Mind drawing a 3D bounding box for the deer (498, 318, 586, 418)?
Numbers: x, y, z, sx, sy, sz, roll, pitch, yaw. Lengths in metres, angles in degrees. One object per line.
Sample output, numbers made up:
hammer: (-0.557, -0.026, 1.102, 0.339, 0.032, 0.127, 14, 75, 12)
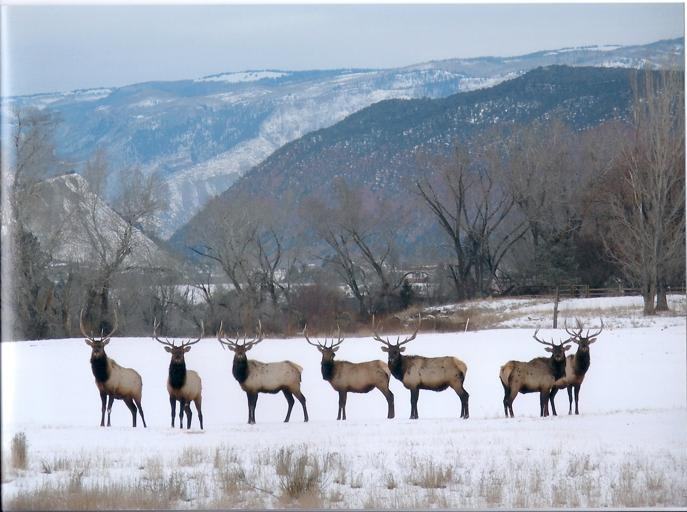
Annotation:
deer: (5.453, 3.432, 37.718, 1.910, 2.246, 0.974, -3, -5, 9)

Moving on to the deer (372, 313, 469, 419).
deer: (2.433, 3.428, 37.705, 2.282, 2.455, 1.066, -3, -5, 6)

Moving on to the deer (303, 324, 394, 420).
deer: (0.237, 3.426, 38.173, 2.340, 2.682, 1.188, 0, 0, 5)

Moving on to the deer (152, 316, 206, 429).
deer: (-4.528, 3.552, 37.808, 1.207, 2.776, 2.281, -1, -6, -8)

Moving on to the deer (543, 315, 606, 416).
deer: (6.575, 3.288, 38.048, 1.001, 2.453, 2.124, 3, -20, -33)

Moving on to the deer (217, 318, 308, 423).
deer: (-2.204, 3.450, 37.825, 2.411, 2.820, 1.329, 1, -4, -16)
